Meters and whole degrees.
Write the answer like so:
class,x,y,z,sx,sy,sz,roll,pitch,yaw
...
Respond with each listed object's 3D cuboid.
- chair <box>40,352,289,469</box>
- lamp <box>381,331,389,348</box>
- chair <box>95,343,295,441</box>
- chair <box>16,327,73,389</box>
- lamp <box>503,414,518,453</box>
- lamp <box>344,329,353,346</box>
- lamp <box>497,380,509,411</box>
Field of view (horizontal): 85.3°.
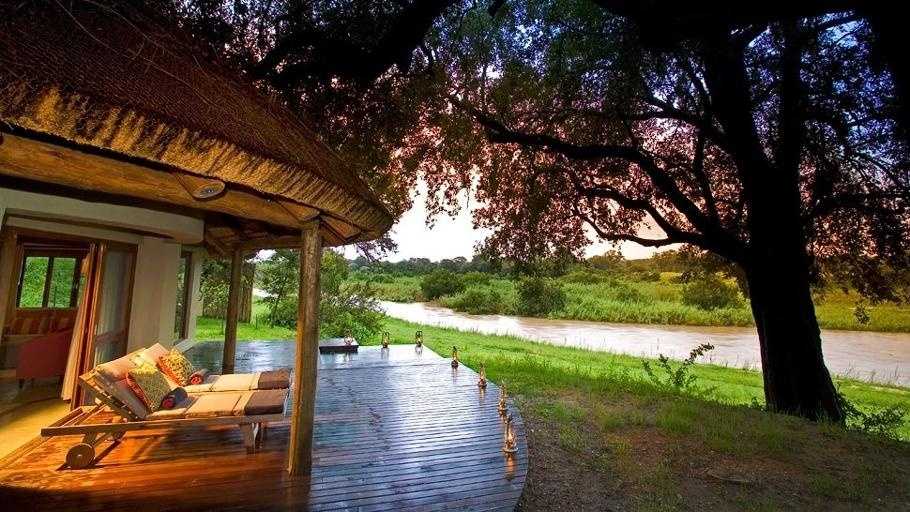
class,x,y,z,sx,sy,sz,roll,pitch,yaw
chair,-4.900,2.597,8.857,2.768,1.166,2.334,2,-3,-15
lamp,-2.111,2.575,15.037,0.196,0.481,0.409,1,-7,-11
chair,-4.837,2.444,8.916,2.377,1.021,2.074,2,1,-15
chair,-8.970,2.211,10.631,1.225,1.137,1.126,-7,-11,-22
lamp,1.021,3.241,9.068,0.244,0.652,0.488,-1,-7,6
lamp,-3.238,2.503,15.061,0.241,0.442,0.894,2,-8,-13
lamp,1.012,2.958,10.477,0.174,0.596,0.546,-1,-7,5
